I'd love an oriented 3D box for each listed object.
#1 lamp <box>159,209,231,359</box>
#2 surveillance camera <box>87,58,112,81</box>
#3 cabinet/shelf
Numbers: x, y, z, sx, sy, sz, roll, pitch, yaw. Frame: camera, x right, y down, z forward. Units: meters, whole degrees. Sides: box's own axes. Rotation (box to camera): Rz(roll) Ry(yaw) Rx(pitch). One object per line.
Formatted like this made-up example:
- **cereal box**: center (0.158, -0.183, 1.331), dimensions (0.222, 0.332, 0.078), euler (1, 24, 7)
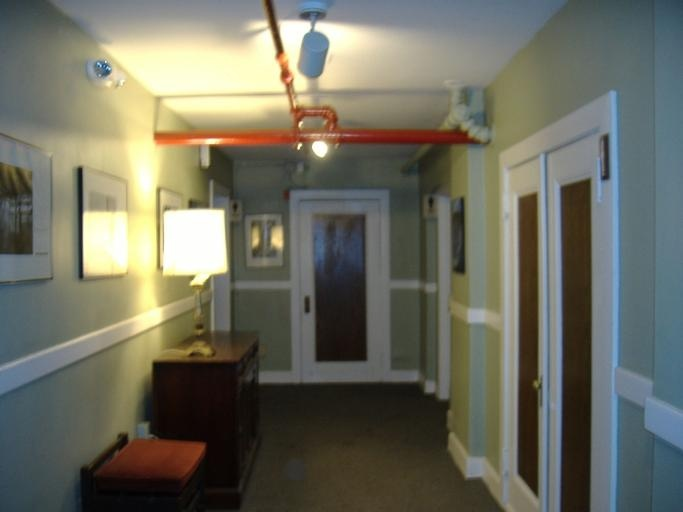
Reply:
- **lamp**: center (-1.097, 0.164, 4.239), dimensions (0.412, 1.057, 0.923), euler (-2, 8, -18)
- **surveillance camera**: center (-1.473, -1.129, 3.486), dimensions (0.121, 0.136, 0.043), euler (-10, 15, -39)
- **cabinet/shelf**: center (-0.942, 1.145, 3.930), dimensions (0.407, 0.855, 1.132), euler (0, 2, -1)
